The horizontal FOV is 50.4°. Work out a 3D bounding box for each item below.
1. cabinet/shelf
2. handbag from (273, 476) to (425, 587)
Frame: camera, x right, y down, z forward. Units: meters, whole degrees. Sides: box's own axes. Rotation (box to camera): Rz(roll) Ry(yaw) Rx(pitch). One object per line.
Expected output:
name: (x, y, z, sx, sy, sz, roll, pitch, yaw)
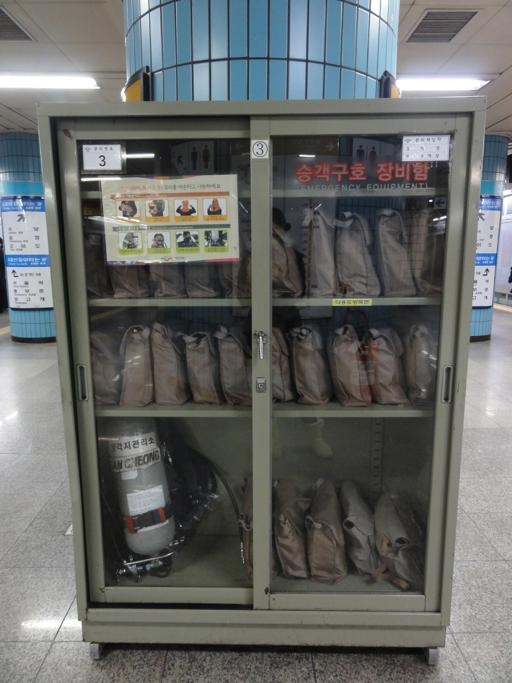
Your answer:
cabinet/shelf: (0.026, 0.172, 2.180, 1.472, 2.017, 0.721, 0, 10, 5)
handbag: (0.350, 0.726, 2.060, 0.386, 0.142, 0.396, 1, 5, 0)
